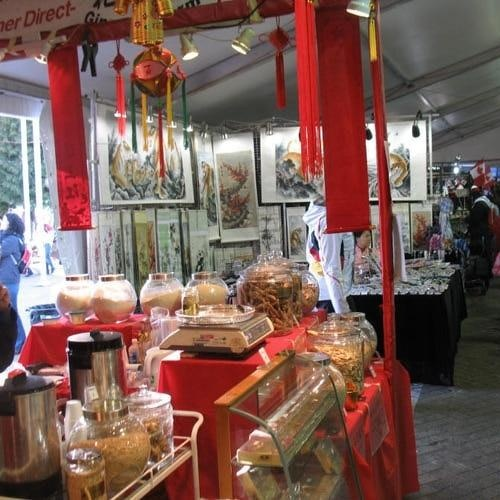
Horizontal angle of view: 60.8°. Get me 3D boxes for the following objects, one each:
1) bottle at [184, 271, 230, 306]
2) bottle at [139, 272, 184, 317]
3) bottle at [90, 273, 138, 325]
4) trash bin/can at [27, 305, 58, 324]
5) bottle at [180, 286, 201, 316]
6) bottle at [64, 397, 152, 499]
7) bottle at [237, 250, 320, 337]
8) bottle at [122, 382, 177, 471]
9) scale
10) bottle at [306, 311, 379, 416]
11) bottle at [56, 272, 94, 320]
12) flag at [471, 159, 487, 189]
[{"bbox_3d":[-0.223,0.181,2.277,0.156,0.185,0.164,-1,2,-29],"label":"bottle"},{"bbox_3d":[-0.548,0.274,2.675,0.221,0.245,0.243,-3,-7,28],"label":"bottle"},{"bbox_3d":[-0.923,0.332,2.915,0.256,0.303,0.294,0,-5,-3],"label":"bottle"},{"bbox_3d":[-2.048,0.628,4.206,0.310,0.177,0.448,-1,-10,1],"label":"trash bin/can"},{"bbox_3d":[-0.256,0.225,1.873,0.082,0.178,0.090,0,-6,0],"label":"bottle"},{"bbox_3d":[-0.363,0.494,1.083,0.149,0.219,0.179,-1,2,28],"label":"bottle"},{"bbox_3d":[0.129,0.213,2.124,0.309,0.441,0.368,0,-5,0],"label":"bottle"},{"bbox_3d":[-0.272,0.517,1.274,0.145,0.216,0.168,0,2,3],"label":"bottle"},{"bbox_3d":[-0.109,0.310,1.711,0.366,0.147,0.425,-2,2,17],"label":"scale"},{"bbox_3d":[0.455,0.481,1.872,0.258,0.483,0.304,-2,-3,-15],"label":"bottle"},{"bbox_3d":[-1.246,0.340,3.042,0.269,0.411,0.307,1,-3,-2],"label":"bottle"},{"bbox_3d":[6.622,-2.211,12.313,0.441,0.777,1.266,-1,2,30],"label":"flag"}]
